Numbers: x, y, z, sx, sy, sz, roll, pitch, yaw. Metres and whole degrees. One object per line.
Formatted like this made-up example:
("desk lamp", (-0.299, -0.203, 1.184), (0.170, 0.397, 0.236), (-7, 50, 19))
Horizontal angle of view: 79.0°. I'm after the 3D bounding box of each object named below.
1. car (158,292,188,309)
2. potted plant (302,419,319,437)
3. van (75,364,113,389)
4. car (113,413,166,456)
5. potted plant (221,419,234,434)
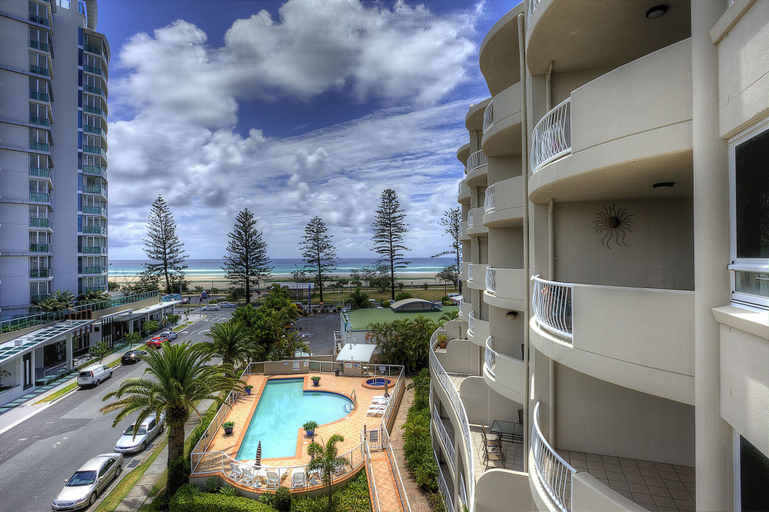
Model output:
("car", (-29.005, 6.159, 63.921), (2.733, 0.900, 2.978), (1, 0, 3))
("potted plant", (-3.904, 9.086, 24.779), (0.730, 0.753, 0.732), (-2, 6, -13))
("van", (-20.246, 8.258, 32.600), (1.141, 0.921, 2.388), (-1, 5, -5))
("car", (-12.966, 9.524, 24.659), (1.978, 1.550, 4.731), (0, -10, -6))
("potted plant", (-8.247, 9.006, 24.688), (0.526, 0.545, 0.536), (7, 7, 42))
